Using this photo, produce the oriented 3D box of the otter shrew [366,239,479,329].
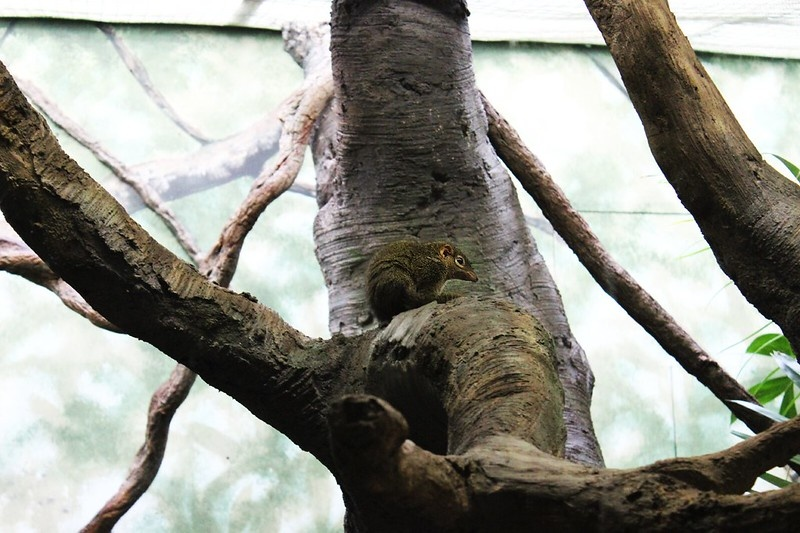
[{"bbox_3d":[0.232,0.195,10.388,1.020,0.902,0.726,-3,-22,-3],"label":"otter shrew"}]
